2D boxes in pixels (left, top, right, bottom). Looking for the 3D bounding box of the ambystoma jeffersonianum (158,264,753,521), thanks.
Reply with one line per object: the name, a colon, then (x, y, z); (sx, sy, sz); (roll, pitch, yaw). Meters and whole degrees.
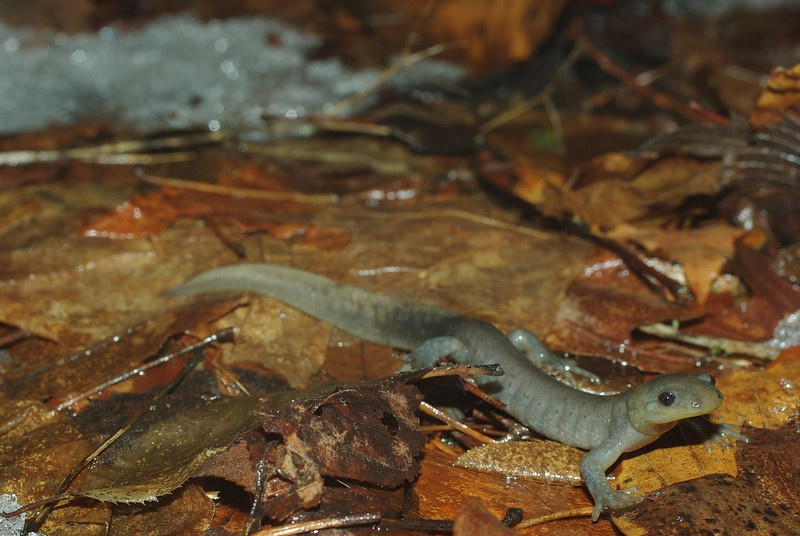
ambystoma jeffersonianum: (0.245, 0.756, 7.318); (5.051, 0.661, 1.635); (21, 46, 20)
